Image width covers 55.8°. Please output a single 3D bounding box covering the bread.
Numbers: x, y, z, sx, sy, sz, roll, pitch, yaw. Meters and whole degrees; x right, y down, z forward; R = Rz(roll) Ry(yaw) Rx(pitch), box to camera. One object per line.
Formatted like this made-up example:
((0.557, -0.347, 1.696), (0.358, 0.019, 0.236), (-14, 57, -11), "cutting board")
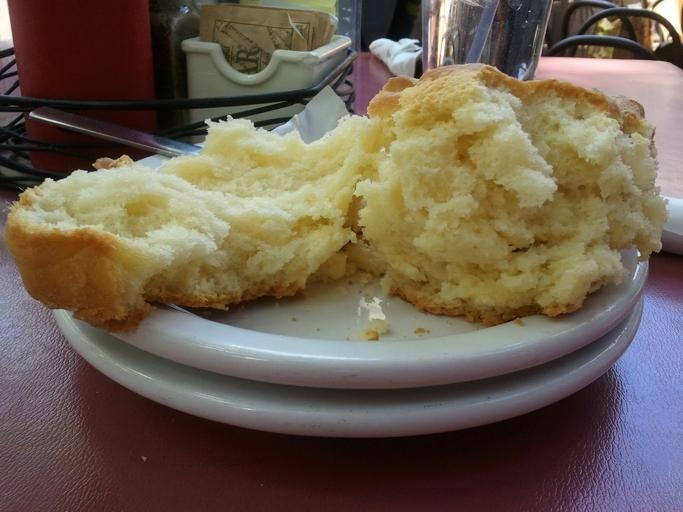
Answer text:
((0.002, -0.029, 0.598), (0.487, 0.143, 0.288), (-3, 26, -4), "bread")
